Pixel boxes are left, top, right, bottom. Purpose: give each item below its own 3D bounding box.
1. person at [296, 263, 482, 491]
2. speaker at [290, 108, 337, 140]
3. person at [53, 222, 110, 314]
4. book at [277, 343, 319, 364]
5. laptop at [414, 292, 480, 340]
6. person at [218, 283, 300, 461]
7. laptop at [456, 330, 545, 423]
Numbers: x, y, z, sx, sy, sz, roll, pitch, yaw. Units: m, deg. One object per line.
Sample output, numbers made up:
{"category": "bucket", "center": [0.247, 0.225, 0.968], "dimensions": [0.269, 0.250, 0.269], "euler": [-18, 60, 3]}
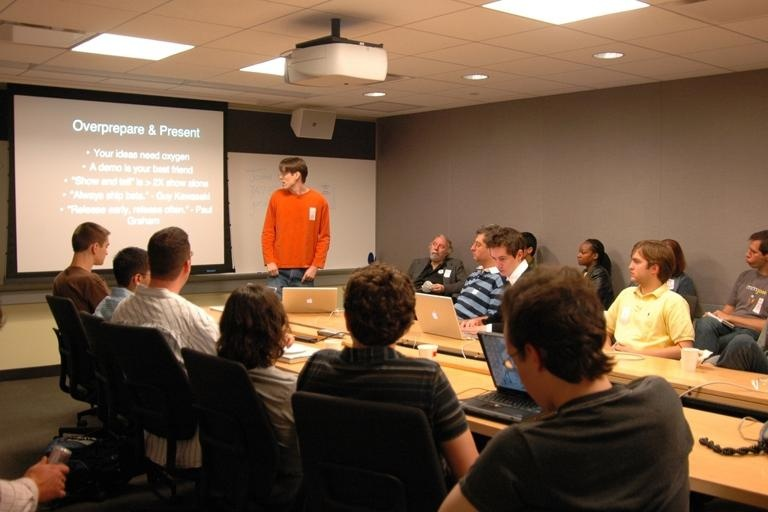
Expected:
{"category": "person", "center": [0.035, 0.549, 2.479], "dimensions": [0.955, 1.085, 0.584], "euler": [4, 8, 17]}
{"category": "speaker", "center": [-0.942, -1.778, 7.177], "dimensions": [0.448, 0.301, 0.446], "euler": [1, 13, -23]}
{"category": "person", "center": [-2.674, 0.094, 4.669], "dimensions": [0.670, 0.789, 0.421], "euler": [11, 16, 38]}
{"category": "book", "center": [-0.561, 0.637, 3.485], "dimensions": [0.252, 0.045, 0.272], "euler": [-2, 12, -3]}
{"category": "laptop", "center": [0.462, 0.432, 3.968], "dimensions": [0.411, 0.335, 0.464], "euler": [3, -1, -39]}
{"category": "person", "center": [-0.621, 0.566, 2.625], "dimensions": [0.456, 0.826, 0.290], "euler": [2, 5, 6]}
{"category": "laptop", "center": [0.587, 0.641, 2.668], "dimensions": [0.409, 0.355, 0.491], "euler": [3, 0, -41]}
